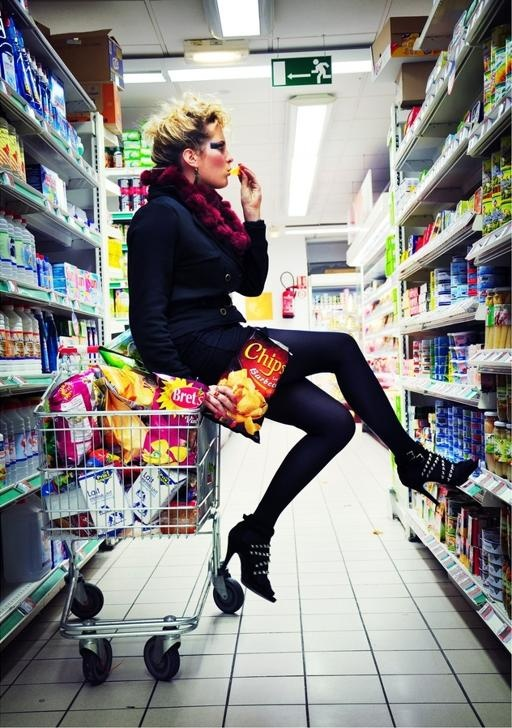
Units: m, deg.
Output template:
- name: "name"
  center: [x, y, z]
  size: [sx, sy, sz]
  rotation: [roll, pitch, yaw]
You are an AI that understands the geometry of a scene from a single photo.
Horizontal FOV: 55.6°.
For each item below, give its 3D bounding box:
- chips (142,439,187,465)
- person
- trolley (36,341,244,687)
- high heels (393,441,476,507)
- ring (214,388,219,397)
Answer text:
- name: "chips"
  center: [-0.213, 0.216, 1.127]
  size: [0.088, 0.058, 0.023]
  rotation: [-2, -3, 3]
- name: "person"
  center: [-0.057, -0.268, 2.283]
  size: [1.472, 2.376, 1.010]
  rotation: [-10, 8, 1]
- name: "trolley"
  center: [-0.222, 0.397, 1.494]
  size: [0.735, 0.954, 0.602]
  rotation: [-1, 1, 6]
- name: "high heels"
  center: [0.493, 0.284, 1.358]
  size: [0.095, 0.176, 0.186]
  rotation: [-1, -1, -27]
- name: "ring"
  center: [-0.093, 0.067, 1.121]
  size: [0.006, 0.016, 0.011]
  rotation: [-4, -7, -13]
